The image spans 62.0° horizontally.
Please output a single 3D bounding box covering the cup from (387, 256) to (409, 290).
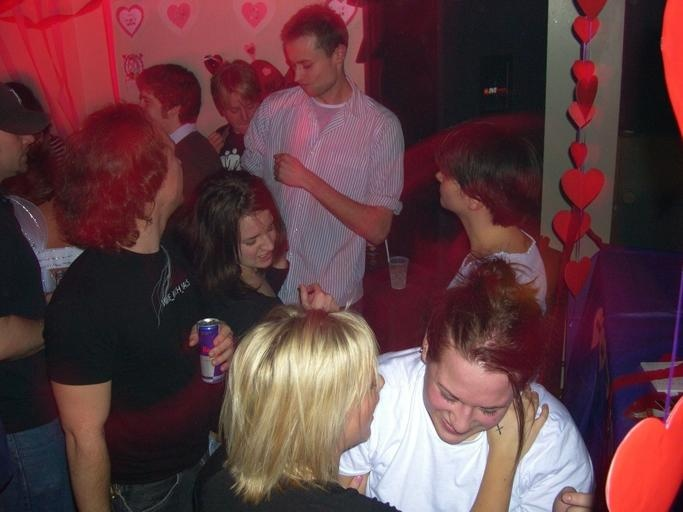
[{"bbox_3d":[0.351,0.100,3.484,0.154,0.178,0.158,1,19,0],"label":"cup"}]

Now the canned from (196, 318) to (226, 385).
[{"bbox_3d":[-0.497,0.370,2.162,0.087,0.251,0.073,-7,13,-17],"label":"canned"}]

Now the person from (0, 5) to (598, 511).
[{"bbox_3d":[-0.133,-0.498,3.173,2.548,1.696,0.647,7,16,36],"label":"person"}]
